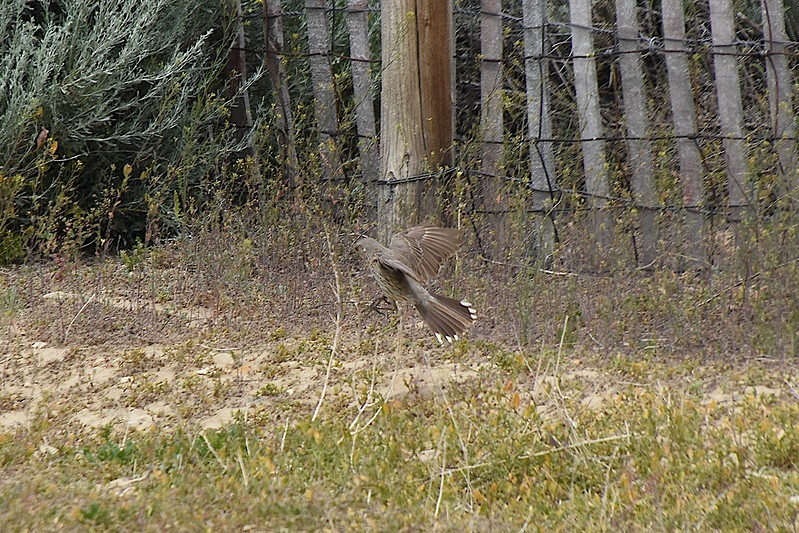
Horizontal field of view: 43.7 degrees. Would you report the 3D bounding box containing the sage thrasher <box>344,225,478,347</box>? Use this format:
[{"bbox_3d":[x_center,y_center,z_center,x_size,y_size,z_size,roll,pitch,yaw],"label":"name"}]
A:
[{"bbox_3d":[0.156,0.037,7.781,0.846,0.403,0.905,27,35,10],"label":"sage thrasher"}]
